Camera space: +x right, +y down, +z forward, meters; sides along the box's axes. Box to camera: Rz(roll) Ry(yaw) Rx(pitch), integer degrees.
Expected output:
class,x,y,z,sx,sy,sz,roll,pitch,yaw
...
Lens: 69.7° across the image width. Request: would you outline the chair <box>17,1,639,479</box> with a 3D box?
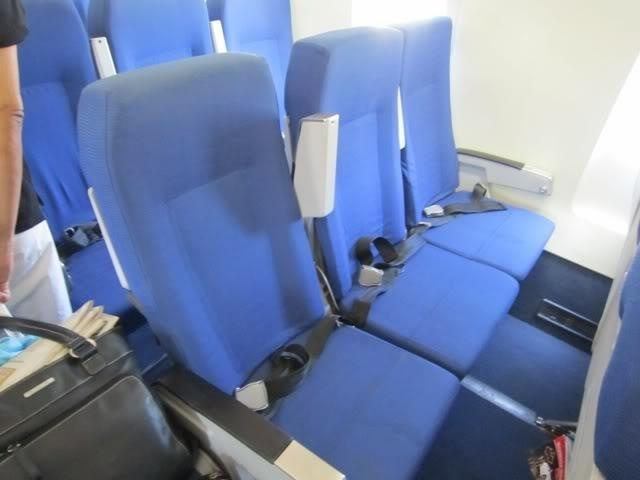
class,x,y,z,sx,sy,sz,roll,pitch,yaw
chair,0.050,0.083,1.726,1.414,1.485,1.536,17,43,34
